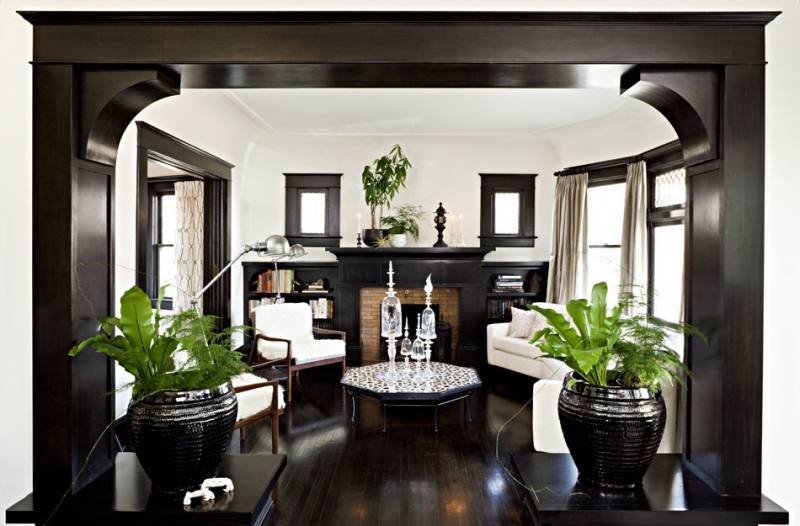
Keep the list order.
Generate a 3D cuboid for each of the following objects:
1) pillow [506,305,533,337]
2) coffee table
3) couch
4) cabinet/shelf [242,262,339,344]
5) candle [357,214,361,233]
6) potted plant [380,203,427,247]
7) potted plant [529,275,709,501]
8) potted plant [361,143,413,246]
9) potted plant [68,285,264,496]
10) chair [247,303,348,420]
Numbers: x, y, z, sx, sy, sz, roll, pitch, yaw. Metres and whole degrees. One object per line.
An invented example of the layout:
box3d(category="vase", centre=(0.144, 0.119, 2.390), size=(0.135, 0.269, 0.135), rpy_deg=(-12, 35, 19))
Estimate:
box3d(category="pillow", centre=(1.483, 0.730, 7.080), size=(0.096, 0.314, 0.313), rpy_deg=(25, -15, -37))
box3d(category="coffee table", centre=(0.083, 1.361, 5.800), size=(1.366, 0.553, 1.130), rpy_deg=(0, 7, -2))
box3d(category="couch", centre=(1.645, 0.970, 6.939), size=(0.680, 0.817, 1.189), rpy_deg=(-1, 3, -27))
box3d(category="cabinet/shelf", centre=(-1.489, 0.539, 7.537), size=(1.104, 1.070, 0.369), rpy_deg=(0, -4, -6))
box3d(category="candle", centre=(-0.587, -0.560, 8.117), size=(0.051, 0.266, 0.093), rpy_deg=(-1, 8, -11))
box3d(category="potted plant", centre=(0.042, -0.525, 8.017), size=(0.546, 0.398, 0.541), rpy_deg=(4, -1, -41))
box3d(category="potted plant", centre=(1.115, 0.719, 3.545), size=(1.075, 1.219, 1.098), rpy_deg=(0, -4, -2))
box3d(category="potted plant", centre=(-0.187, -0.938, 7.798), size=(0.665, 1.406, 0.767), rpy_deg=(0, 7, -3))
box3d(category="potted plant", centre=(-1.154, 0.707, 3.374), size=(1.275, 1.297, 1.014), rpy_deg=(-2, -3, 36))
box3d(category="chair", centre=(-1.230, 1.041, 6.763), size=(0.921, 1.049, 0.949), rpy_deg=(2, 1, 32))
